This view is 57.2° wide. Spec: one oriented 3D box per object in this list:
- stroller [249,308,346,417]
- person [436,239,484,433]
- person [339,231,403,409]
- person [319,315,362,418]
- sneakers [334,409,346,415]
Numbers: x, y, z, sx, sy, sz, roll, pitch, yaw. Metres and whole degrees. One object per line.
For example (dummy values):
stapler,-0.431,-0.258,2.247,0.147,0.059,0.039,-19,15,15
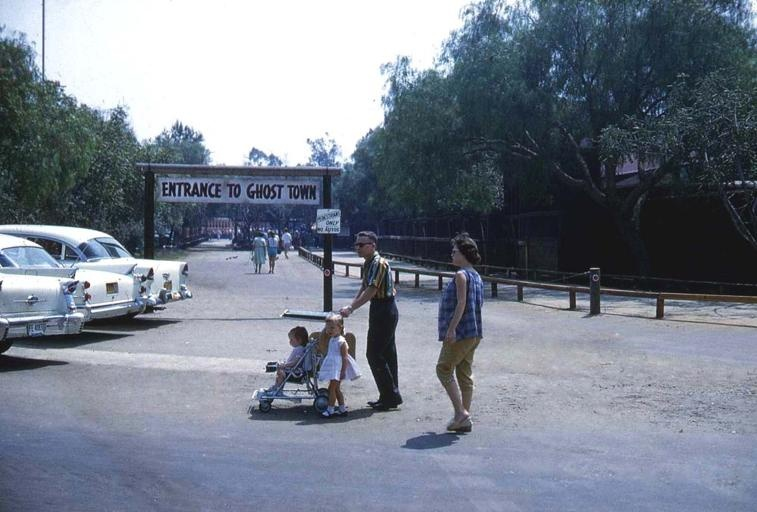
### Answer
stroller,-1.160,1.408,9.559,0.936,1.405,0.768,2,4,-12
person,1.007,0.922,8.753,0.531,2.403,0.808,2,6,15
person,-0.133,0.873,9.502,0.788,2.355,0.715,1,-3,-38
person,-0.541,1.417,9.237,0.556,1.303,0.419,-2,7,-20
sneakers,-0.507,2.046,9.132,0.135,0.066,0.054,5,-1,1
